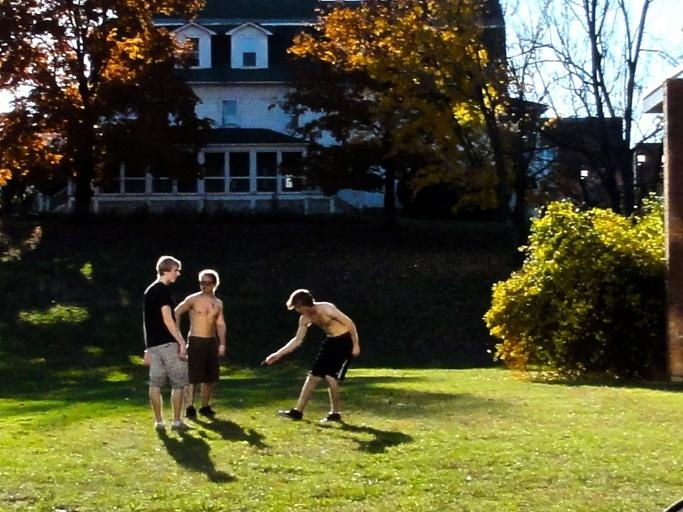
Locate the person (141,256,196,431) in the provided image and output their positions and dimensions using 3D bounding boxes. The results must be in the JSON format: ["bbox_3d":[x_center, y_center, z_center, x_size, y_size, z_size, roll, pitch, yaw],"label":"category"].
[{"bbox_3d":[-2.982,1.426,17.096,0.718,2.880,1.250,-4,8,-9],"label":"person"}]

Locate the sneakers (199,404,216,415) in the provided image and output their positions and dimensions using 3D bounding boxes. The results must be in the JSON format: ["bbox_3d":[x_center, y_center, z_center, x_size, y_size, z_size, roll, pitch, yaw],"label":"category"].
[{"bbox_3d":[-2.413,2.720,17.915,0.316,0.226,0.134,6,1,-14],"label":"sneakers"}]

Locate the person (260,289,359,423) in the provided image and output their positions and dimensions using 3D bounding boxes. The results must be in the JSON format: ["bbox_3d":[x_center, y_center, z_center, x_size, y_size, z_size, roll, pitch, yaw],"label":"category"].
[{"bbox_3d":[-0.370,1.702,17.507,1.315,2.285,0.490,-2,8,-1],"label":"person"}]

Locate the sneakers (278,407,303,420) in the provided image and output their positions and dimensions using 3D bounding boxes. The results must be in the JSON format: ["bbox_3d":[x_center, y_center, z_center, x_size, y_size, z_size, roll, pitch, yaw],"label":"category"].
[{"bbox_3d":[-0.856,2.752,17.737,0.480,0.157,0.157,13,-4,14],"label":"sneakers"}]
